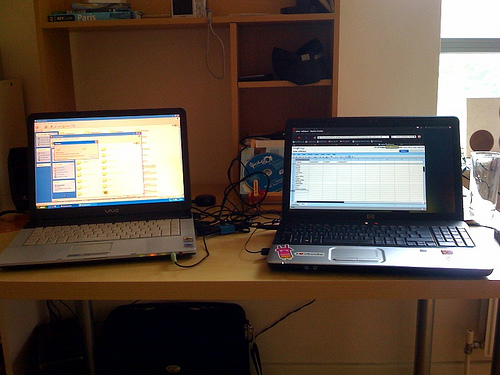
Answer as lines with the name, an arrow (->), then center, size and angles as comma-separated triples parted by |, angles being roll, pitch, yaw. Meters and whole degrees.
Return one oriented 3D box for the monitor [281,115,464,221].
monitor -> 0.412, -0.068, 1.478 | 0.531, 0.324, 0.377 | 1, 8, 6
